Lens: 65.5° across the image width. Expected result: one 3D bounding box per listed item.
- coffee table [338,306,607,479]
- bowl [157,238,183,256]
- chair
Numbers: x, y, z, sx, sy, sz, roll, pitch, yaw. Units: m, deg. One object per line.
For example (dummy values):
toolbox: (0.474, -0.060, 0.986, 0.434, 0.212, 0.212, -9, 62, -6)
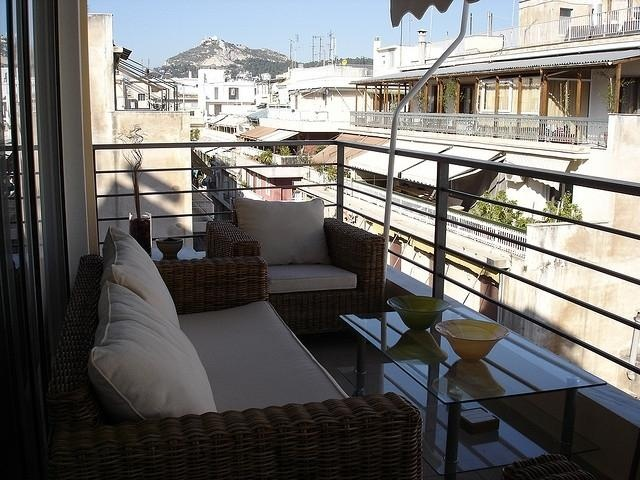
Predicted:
coffee table: (0.557, 0.578, 1.972, 0.506, 0.328, 0.800, -3, 12, -18)
bowl: (-0.977, 0.049, 3.276, 0.121, 0.099, 0.123, 1, 7, 0)
chair: (-0.193, 0.223, 3.573, 0.969, 0.869, 0.967, 0, 4, -20)
